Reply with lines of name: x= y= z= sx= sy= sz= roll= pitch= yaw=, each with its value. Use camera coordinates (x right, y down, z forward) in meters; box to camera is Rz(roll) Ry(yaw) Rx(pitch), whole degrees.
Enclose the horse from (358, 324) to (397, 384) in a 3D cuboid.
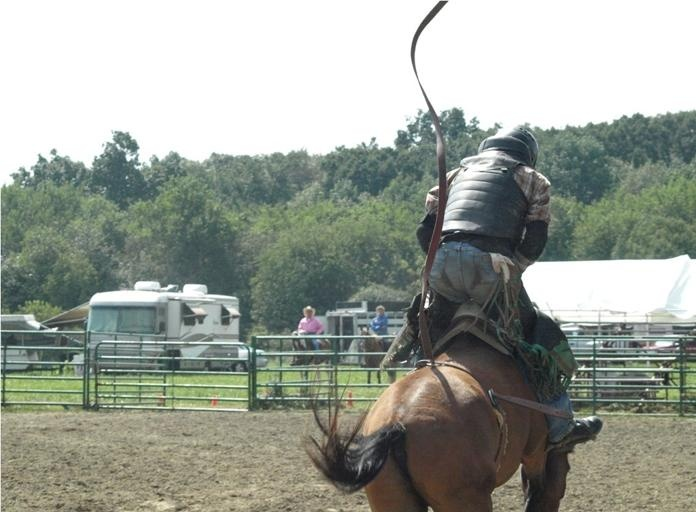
horse: x=0.974 y=3.561 z=45.625 sx=0.946 sy=2.140 sz=0.932 roll=-4 pitch=5 yaw=0
